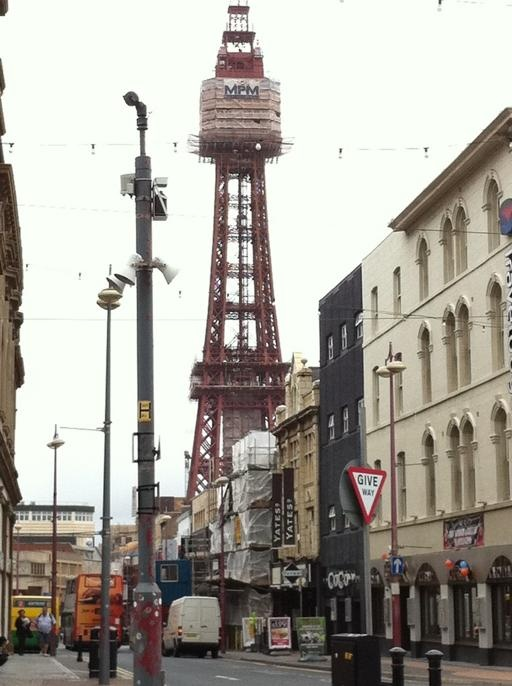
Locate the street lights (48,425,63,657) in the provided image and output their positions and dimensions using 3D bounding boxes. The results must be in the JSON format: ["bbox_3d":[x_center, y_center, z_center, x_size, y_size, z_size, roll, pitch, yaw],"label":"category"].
[{"bbox_3d":[-7.236,7.140,56.410,0.658,8.564,0.671,-10,25,-29],"label":"street lights"}]
